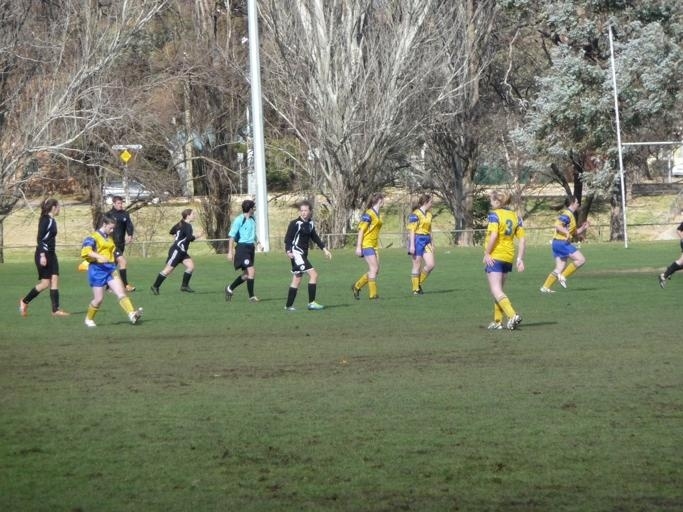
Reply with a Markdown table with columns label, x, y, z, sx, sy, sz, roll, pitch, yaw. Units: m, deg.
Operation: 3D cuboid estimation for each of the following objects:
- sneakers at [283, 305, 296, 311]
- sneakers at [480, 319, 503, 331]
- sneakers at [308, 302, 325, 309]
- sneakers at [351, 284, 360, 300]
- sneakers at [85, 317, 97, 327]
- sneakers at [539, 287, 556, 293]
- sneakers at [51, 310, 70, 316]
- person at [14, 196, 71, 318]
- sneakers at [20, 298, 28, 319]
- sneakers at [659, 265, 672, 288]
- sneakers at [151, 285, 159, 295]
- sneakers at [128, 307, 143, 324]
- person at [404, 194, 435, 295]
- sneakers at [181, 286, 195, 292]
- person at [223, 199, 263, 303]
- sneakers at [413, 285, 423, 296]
| label | x | y | z | sx | sy | sz | roll | pitch | yaw |
| --- | --- | --- | --- | --- | --- | --- | --- | --- | --- |
| sneakers | -1.048 | 1.033 | 19.879 | 0.157 | 0.087 | 0.092 | -1 | 5 | 4 |
| sneakers | 2.527 | 1.179 | 17.117 | 0.312 | 0.148 | 0.119 | 2 | 1 | 39 |
| sneakers | -0.510 | 0.999 | 19.878 | 0.327 | 0.169 | 0.123 | -1 | 21 | -13 |
| sneakers | 0.271 | 0.802 | 21.468 | 0.161 | 0.338 | 0.114 | 1 | 26 | 13 |
| sneakers | -4.529 | 1.224 | 18.237 | 0.112 | 0.122 | 0.275 | 1 | -1 | -37 |
| sneakers | 4.407 | 0.722 | 21.762 | 0.325 | 0.145 | 0.119 | -1 | 10 | -12 |
| sneakers | -5.466 | 1.123 | 19.696 | 0.326 | 0.149 | 0.112 | -3 | 0 | 9 |
| person | -5.893 | 0.019 | 19.921 | 0.795 | 2.308 | 1.573 | -3 | 6 | -18 |
| sneakers | -6.168 | 1.030 | 19.616 | 0.149 | 0.340 | 0.113 | 2 | 17 | 8 |
| sneakers | 7.155 | 0.481 | 22.488 | 0.209 | 0.438 | 0.149 | -23 | 50 | -9 |
| sneakers | -4.280 | 0.785 | 23.138 | 0.089 | 0.191 | 0.062 | -15 | 12 | 14 |
| sneakers | -3.736 | 1.093 | 18.271 | 0.101 | 0.287 | 0.132 | 31 | 13 | -16 |
| person | 1.688 | -0.258 | 21.896 | 0.511 | 2.143 | 0.675 | -2 | 6 | 1 |
| sneakers | -3.607 | 0.805 | 23.582 | 0.307 | 0.155 | 0.117 | 7 | 12 | 7 |
| person | -2.117 | -0.102 | 21.485 | 0.784 | 2.151 | 1.017 | -2 | 6 | -7 |
| sneakers | 1.640 | 0.736 | 21.930 | 0.215 | 0.186 | 0.340 | -1 | 6 | 5 |
